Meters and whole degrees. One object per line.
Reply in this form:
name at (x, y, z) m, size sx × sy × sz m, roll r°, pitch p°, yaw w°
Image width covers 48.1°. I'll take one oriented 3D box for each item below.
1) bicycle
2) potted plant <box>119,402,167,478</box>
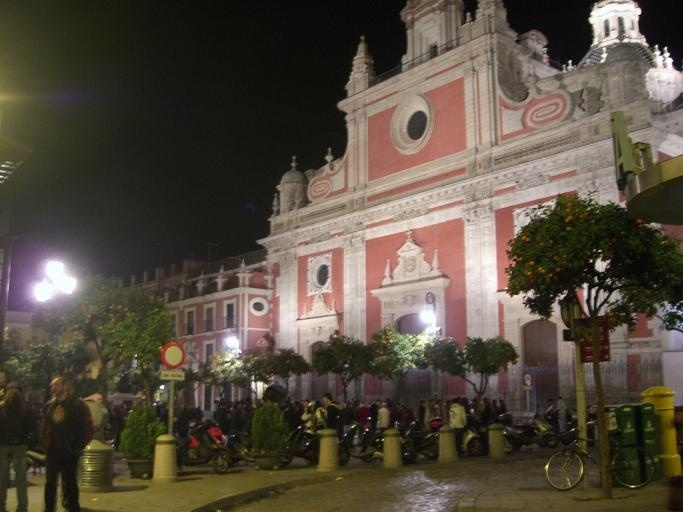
bicycle at (5.174, 4.107, 15.586) m, size 2.176 × 1.257 × 1.075 m, roll 3°, pitch -9°, yaw -5°
potted plant at (-4.744, 4.387, 18.269) m, size 1.082 × 1.754 × 0.623 m, roll -8°, pitch -17°, yaw 15°
